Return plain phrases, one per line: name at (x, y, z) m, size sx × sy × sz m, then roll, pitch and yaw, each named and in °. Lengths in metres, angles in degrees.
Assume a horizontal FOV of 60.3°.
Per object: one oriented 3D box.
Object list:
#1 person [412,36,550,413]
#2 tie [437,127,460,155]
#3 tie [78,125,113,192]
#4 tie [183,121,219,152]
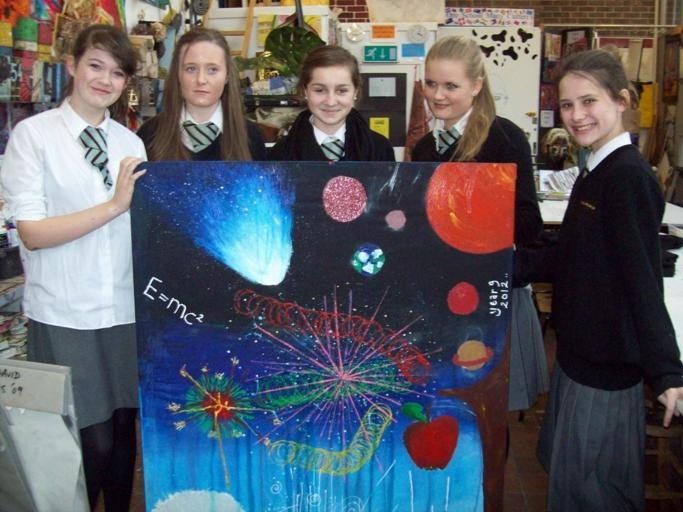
person at (0.479, -0.093, 2.247) m, size 0.542 × 1.431 × 0.573 m, roll 13°, pitch 21°, yaw 43°
tie at (0.409, -0.435, 2.226) m, size 0.031 × 0.086 × 0.092 m, roll 6°, pitch -4°, yaw -33°
tie at (-0.782, -0.315, 1.862) m, size 0.122 × 0.178 × 0.050 m, roll 14°, pitch 8°, yaw 0°
tie at (-0.504, -0.438, 2.085) m, size 0.105 × 0.117 × 0.037 m, roll -5°, pitch 3°, yaw -8°
